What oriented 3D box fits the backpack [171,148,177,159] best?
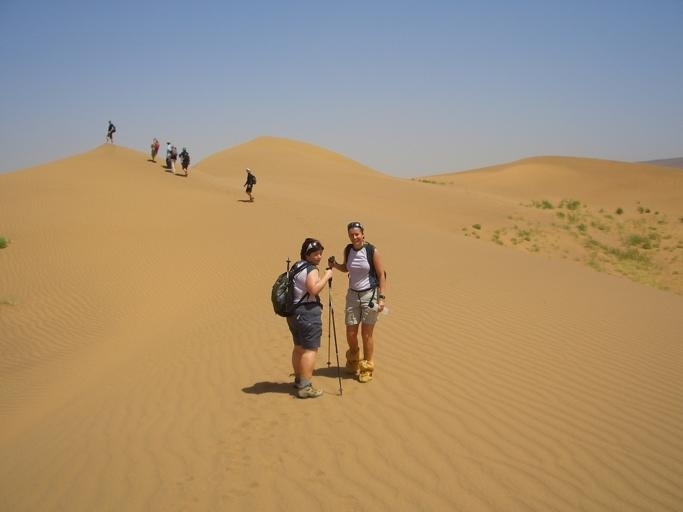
[{"bbox_3d":[-7.141,-4.430,24.974,0.186,0.649,0.744,-5,21,-21],"label":"backpack"}]

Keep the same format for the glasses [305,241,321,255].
[{"bbox_3d":[-0.483,-0.167,10.102,0.216,0.099,0.208,-19,-13,-39],"label":"glasses"}]

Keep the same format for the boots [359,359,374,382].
[{"bbox_3d":[0.458,2.183,11.053,0.236,0.415,0.399,-1,40,7],"label":"boots"}]

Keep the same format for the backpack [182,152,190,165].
[{"bbox_3d":[-6.686,-4.266,24.976,0.243,0.546,0.451,-8,22,-26],"label":"backpack"}]

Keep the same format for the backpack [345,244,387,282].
[{"bbox_3d":[0.379,0.009,11.084,0.592,0.738,0.493,2,3,6],"label":"backpack"}]

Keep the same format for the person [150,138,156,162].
[{"bbox_3d":[-8.271,-4.768,25.790,0.251,1.097,1.775,-4,21,-17],"label":"person"}]
